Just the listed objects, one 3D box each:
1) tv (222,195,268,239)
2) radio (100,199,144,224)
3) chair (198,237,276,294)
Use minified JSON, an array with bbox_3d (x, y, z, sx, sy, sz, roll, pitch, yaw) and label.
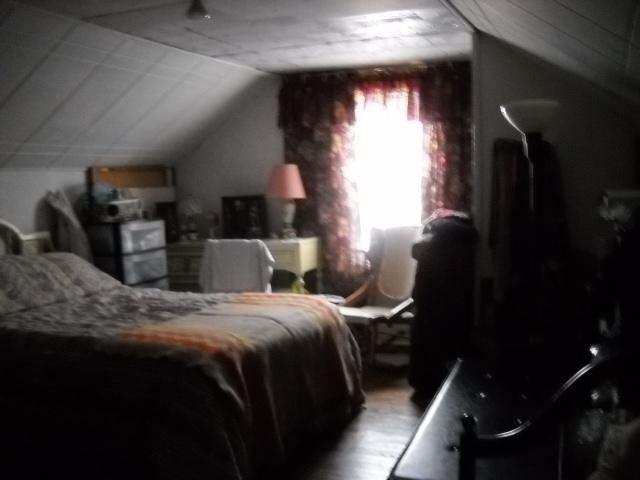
[{"bbox_3d":[-0.655,-0.207,4.865,0.369,0.376,0.131,1,4,24],"label":"tv"},{"bbox_3d":[-1.566,-0.233,4.365,0.144,0.093,0.239,-14,0,9],"label":"radio"},{"bbox_3d":[-0.599,0.240,4.119,0.454,0.523,0.398,1,10,4],"label":"chair"}]
